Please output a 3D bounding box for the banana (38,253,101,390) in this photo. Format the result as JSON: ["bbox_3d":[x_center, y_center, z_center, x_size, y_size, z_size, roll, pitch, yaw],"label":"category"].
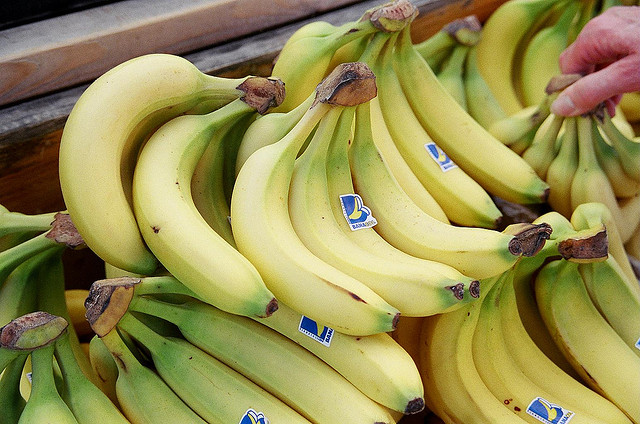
[{"bbox_3d":[-0.674,0.299,1.592,0.069,0.112,0.332,-20,87,-15],"label":"banana"}]

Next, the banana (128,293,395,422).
[{"bbox_3d":[-0.118,0.351,1.402,0.507,0.135,0.095,24,20,11],"label":"banana"}]

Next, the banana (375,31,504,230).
[{"bbox_3d":[0.330,-0.218,1.683,0.108,0.191,0.569,-23,86,-25],"label":"banana"}]

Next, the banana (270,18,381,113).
[{"bbox_3d":[0.021,-0.380,1.573,0.397,0.145,0.111,-52,120,-31],"label":"banana"}]

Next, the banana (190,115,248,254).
[{"bbox_3d":[-0.259,-0.074,1.574,0.092,0.143,0.427,-5,85,-5],"label":"banana"}]

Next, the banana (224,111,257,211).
[{"bbox_3d":[-0.233,-0.145,1.576,0.063,0.291,0.099,8,16,-27],"label":"banana"}]

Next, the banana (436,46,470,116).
[{"bbox_3d":[0.414,-0.430,1.895,0.085,0.063,0.264,-14,94,-28],"label":"banana"}]

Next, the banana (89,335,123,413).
[{"bbox_3d":[-0.530,0.403,1.481,0.052,0.059,0.203,-23,99,-58],"label":"banana"}]

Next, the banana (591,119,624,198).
[{"bbox_3d":[0.836,-0.151,1.731,0.047,0.071,0.220,-18,90,-11],"label":"banana"}]

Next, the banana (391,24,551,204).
[{"bbox_3d":[0.441,-0.283,1.770,0.201,0.126,0.582,-34,87,-41],"label":"banana"}]

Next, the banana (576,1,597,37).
[{"bbox_3d":[0.920,-0.682,2.046,0.031,0.045,0.175,17,70,29],"label":"banana"}]

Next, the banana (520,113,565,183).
[{"bbox_3d":[0.662,-0.187,1.765,0.082,0.181,0.063,19,69,12],"label":"banana"}]

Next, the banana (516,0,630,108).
[{"bbox_3d":[0.793,-0.497,1.861,0.151,0.410,0.094,10,24,-40],"label":"banana"}]

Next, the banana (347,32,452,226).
[{"bbox_3d":[0.207,-0.211,1.598,0.103,0.172,0.511,-21,85,16],"label":"banana"}]

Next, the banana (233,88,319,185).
[{"bbox_3d":[-0.110,-0.183,1.476,0.060,0.242,0.090,45,17,33],"label":"banana"}]

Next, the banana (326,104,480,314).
[{"bbox_3d":[0.214,-0.089,1.519,0.547,0.096,0.191,36,27,-6],"label":"banana"}]

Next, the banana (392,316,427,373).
[{"bbox_3d":[0.238,0.339,1.586,0.037,0.143,0.149,-8,96,2],"label":"banana"}]

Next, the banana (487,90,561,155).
[{"bbox_3d":[0.631,-0.249,1.809,0.101,0.222,0.073,31,23,-3],"label":"banana"}]

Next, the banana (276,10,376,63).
[{"bbox_3d":[0.023,-0.461,1.692,0.324,0.135,0.087,2,20,20],"label":"banana"}]

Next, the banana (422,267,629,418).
[{"bbox_3d":[0.527,0.342,1.527,0.367,0.239,0.116,50,37,13],"label":"banana"}]
